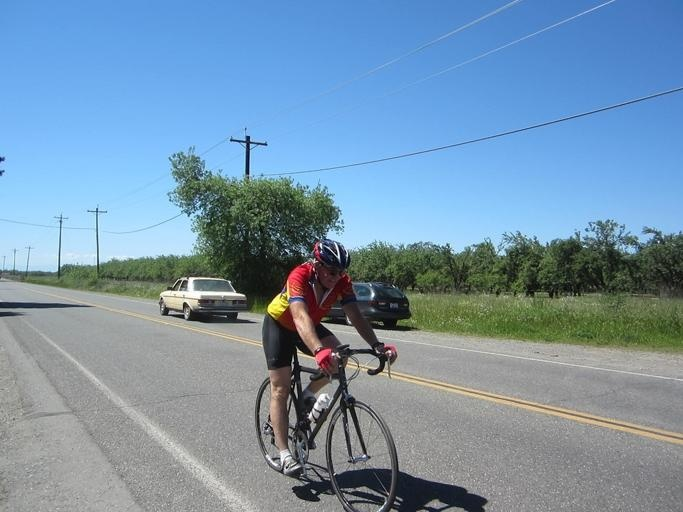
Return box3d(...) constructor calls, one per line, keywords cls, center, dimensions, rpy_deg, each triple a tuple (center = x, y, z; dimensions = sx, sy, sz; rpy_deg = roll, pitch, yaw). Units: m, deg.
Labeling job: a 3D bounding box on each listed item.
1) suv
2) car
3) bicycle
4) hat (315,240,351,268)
box3d(cls="suv", center=(0.796, 1.821, 18.281), dimensions=(1.362, 1.273, 3.225), rpy_deg=(4, -4, -39))
box3d(cls="car", center=(-5.475, 1.689, 19.125), dimensions=(3.602, 1.644, 1.654), rpy_deg=(-6, -6, 40))
box3d(cls="bicycle", center=(-0.512, 1.560, 4.544), dimensions=(0.756, 1.598, 2.153), rpy_deg=(9, -13, -33))
box3d(cls="hat", center=(-0.091, -0.014, 4.434), dimensions=(0.311, 0.298, 0.395), rpy_deg=(-1, -5, -3))
